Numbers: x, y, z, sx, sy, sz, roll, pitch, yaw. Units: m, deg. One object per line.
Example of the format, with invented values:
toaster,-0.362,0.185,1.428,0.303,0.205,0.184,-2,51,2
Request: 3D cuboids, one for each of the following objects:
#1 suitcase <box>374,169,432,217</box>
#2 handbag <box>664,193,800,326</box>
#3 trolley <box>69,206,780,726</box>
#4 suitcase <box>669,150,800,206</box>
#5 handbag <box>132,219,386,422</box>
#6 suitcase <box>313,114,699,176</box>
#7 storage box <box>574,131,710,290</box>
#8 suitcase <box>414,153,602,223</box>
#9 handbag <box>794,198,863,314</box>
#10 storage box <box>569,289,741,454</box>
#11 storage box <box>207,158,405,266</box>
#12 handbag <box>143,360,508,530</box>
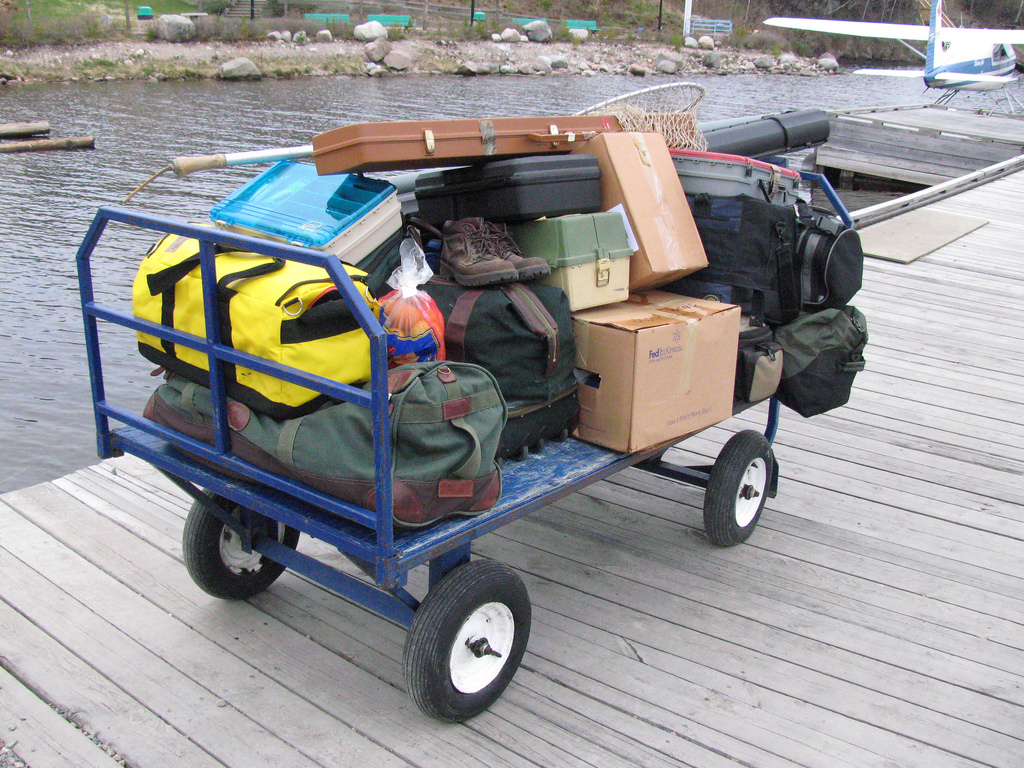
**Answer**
suitcase,-0.494,-0.865,4.116,0.344,0.173,0.178,-15,34,-23
handbag,1.101,-0.638,4.494,0.772,0.408,0.503,21,34,39
trolley,-0.086,0.226,4.364,1.885,1.273,2.795,17,24,40
suitcase,1.179,-1.095,4.805,0.635,0.105,0.646,20,17,39
handbag,-0.983,-0.277,3.564,1.103,0.501,0.616,21,29,40
suitcase,-0.133,-1.103,4.099,1.455,0.229,0.358,-15,25,-32
storage box,0.517,-0.924,4.489,0.697,0.662,0.541,-4,24,18
suitcase,0.032,-0.883,4.076,0.664,0.160,0.517,12,22,41
handbag,1.656,-0.626,4.726,0.327,0.473,0.307,9,29,23
storage box,0.615,-0.071,4.016,0.932,0.484,0.515,-15,24,-38
storage box,-0.842,-0.752,3.871,0.822,0.224,0.624,20,37,29
handbag,-0.702,0.121,3.313,1.150,0.296,0.599,16,23,17
